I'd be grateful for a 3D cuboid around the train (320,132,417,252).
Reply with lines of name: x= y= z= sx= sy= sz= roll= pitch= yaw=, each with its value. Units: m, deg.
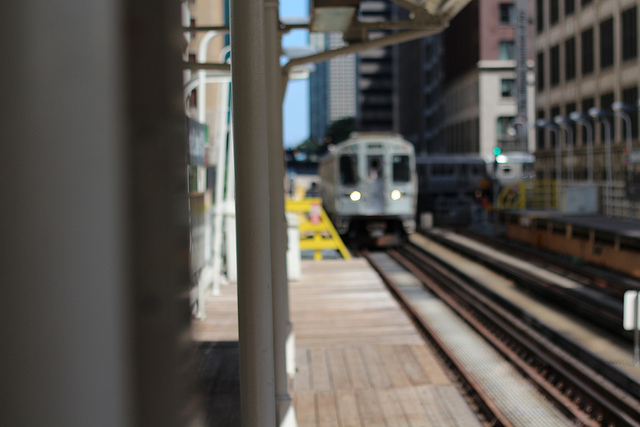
train: x=1.423 y=-0.635 z=18.208 sx=2.446 sy=3.243 sz=1.831 roll=2 pitch=4 yaw=4
